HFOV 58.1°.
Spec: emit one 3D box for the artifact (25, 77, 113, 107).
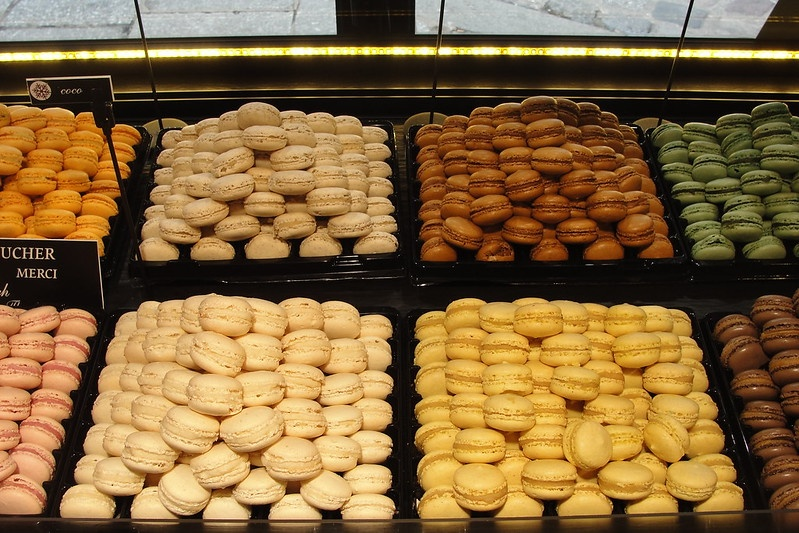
[{"bbox_3d":[-1.519,-0.810,3.326,0.463,0.122,0.044,0,40,-3],"label":"artifact"}]
